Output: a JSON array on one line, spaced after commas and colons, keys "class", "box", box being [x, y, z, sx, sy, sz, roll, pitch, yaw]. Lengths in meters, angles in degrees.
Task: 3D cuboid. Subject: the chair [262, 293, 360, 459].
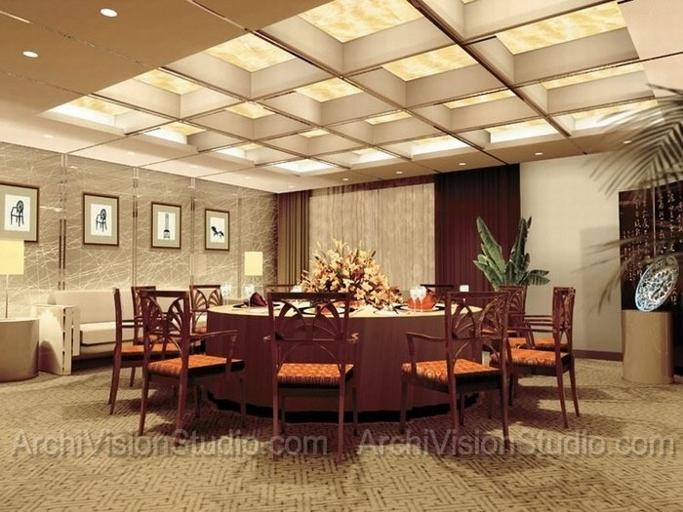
[{"class": "chair", "box": [-0.233, 0.871, 3.904, 0.790, 1.228, 1.101, 0, 2, -2]}]

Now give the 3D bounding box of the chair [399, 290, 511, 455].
[{"class": "chair", "box": [0.962, 0.870, 3.941, 0.872, 1.222, 1.140, 1, 2, 19]}]

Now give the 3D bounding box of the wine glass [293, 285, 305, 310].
[{"class": "wine glass", "box": [-0.449, 0.434, 5.083, 0.177, 0.230, 0.082, 6, 1, 43]}]

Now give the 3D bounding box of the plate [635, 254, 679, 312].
[{"class": "plate", "box": [3.444, 0.332, 5.079, 0.119, 0.574, 0.541, 24, -3, -18]}]

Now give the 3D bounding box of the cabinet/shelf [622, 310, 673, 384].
[{"class": "cabinet/shelf", "box": [3.681, 1.093, 5.633, 0.517, 0.848, 0.357, 1, 2, 30]}]

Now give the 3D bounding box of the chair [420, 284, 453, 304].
[{"class": "chair", "box": [1.062, 0.430, 5.252, 0.262, 0.297, 0.239, -7, -13, 36]}]

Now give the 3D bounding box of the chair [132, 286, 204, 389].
[{"class": "chair", "box": [-1.546, 0.695, 4.238, 0.573, 0.845, 1.328, -1, 1, -23]}]
